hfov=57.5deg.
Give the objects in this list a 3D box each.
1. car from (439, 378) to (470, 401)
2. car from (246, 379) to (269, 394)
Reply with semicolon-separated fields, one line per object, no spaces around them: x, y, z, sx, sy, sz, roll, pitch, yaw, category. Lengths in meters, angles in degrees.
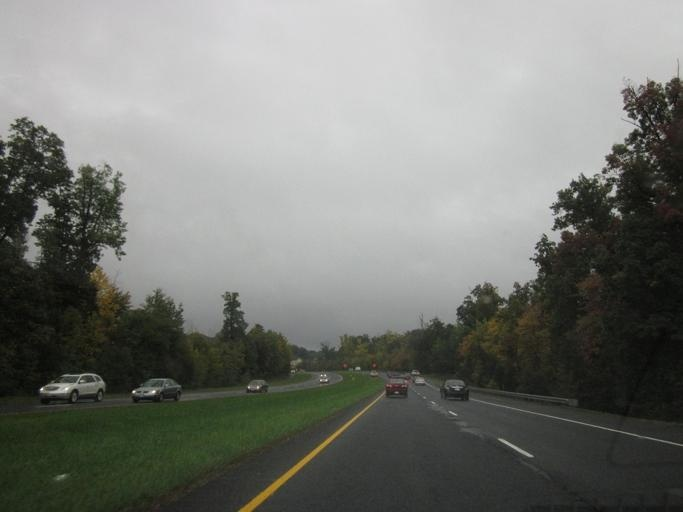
8.699;10.348;48.260;1.819;1.671;2.411;3;-15;2;car
-9.413;14.456;69.203;1.091;1.506;3.234;-2;-17;21;car
